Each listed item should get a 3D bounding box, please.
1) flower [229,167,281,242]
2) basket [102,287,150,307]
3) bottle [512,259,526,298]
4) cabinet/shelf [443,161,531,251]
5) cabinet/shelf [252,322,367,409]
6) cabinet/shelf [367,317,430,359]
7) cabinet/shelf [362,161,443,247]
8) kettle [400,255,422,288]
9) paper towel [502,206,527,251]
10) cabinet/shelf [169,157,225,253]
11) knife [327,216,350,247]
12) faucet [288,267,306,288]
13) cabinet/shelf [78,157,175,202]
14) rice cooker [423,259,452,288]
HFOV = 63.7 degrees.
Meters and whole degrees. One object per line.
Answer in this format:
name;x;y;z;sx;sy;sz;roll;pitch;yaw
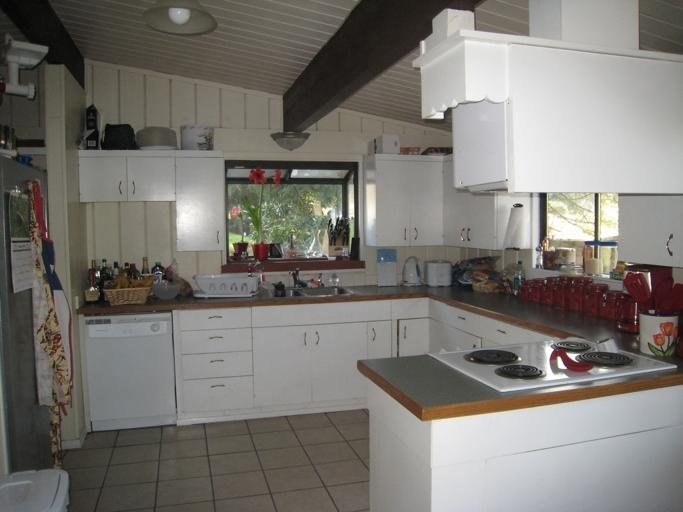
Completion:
flower;-0.824;-0.497;5.335;0.528;0.732;0.240;-4;6;-6
basket;-1.750;0.325;4.508;0.245;0.116;0.183;-3;1;-33
bottle;1.520;0.189;4.717;0.105;0.239;0.582;-1;7;19
cabinet/shelf;1.070;-0.327;3.962;0.384;0.736;0.772;0;4;-7
cabinet/shelf;-0.307;0.927;4.724;1.087;0.795;0.621;0;-1;-12
cabinet/shelf;0.465;0.702;4.775;0.337;0.330;0.145;0;7;-10
cabinet/shelf;0.621;-0.537;5.442;0.687;0.828;0.462;-4;17;-6
kettle;0.683;0.144;5.427;0.199;0.261;0.262;1;5;-1
paper towel;1.501;-0.250;4.686;0.146;0.384;0.153;-5;6;-26
cabinet/shelf;-1.381;-0.450;5.162;0.684;0.928;0.692;-1;0;-33
knife;-0.030;-0.247;5.543;0.214;0.284;0.108;-4;6;-9
faucet;-0.416;0.205;5.295;0.151;0.166;0.232;-4;7;-9
cabinet/shelf;-1.879;-0.687;4.801;0.683;0.427;0.405;0;6;-10
rice cooker;0.934;0.171;5.326;0.228;0.223;0.219;-1;5;-16
